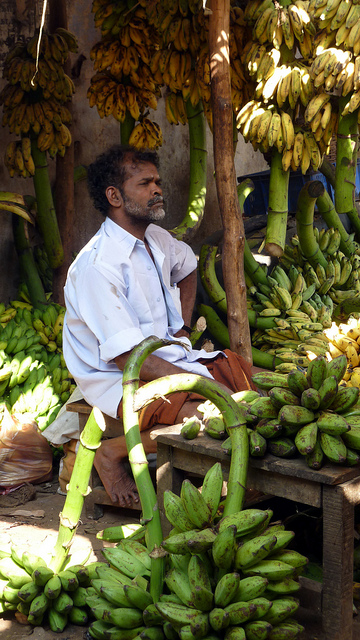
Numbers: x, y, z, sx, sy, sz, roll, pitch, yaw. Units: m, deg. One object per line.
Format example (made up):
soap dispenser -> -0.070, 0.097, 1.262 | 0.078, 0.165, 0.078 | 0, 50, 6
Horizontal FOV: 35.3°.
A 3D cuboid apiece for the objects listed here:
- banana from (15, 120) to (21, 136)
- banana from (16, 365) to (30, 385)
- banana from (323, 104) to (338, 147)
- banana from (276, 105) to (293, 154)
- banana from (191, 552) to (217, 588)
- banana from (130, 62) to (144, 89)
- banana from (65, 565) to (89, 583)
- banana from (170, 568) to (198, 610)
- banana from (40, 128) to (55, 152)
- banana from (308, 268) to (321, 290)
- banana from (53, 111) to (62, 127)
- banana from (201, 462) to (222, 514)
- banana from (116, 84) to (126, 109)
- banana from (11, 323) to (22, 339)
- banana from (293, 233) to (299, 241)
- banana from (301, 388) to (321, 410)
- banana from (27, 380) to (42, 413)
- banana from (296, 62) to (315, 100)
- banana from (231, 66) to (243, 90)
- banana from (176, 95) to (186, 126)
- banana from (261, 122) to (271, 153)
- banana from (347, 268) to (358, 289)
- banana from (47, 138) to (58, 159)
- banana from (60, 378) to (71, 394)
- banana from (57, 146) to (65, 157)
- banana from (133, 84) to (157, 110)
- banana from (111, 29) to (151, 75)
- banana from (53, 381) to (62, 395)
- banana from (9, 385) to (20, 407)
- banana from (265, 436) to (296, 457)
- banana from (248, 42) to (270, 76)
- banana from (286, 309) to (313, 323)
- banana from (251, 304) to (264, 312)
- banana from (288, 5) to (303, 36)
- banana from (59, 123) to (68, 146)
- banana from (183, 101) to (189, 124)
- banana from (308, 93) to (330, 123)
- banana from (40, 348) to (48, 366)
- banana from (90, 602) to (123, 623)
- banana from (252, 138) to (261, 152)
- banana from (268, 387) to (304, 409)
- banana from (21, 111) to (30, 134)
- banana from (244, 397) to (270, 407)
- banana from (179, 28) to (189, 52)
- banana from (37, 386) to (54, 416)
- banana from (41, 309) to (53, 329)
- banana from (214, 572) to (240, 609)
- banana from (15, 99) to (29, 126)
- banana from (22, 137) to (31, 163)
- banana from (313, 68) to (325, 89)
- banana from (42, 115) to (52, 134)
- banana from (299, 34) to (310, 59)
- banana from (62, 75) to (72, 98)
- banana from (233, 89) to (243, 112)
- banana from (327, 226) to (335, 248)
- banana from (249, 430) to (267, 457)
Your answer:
banana -> -1.061, -1.246, 3.678 | 0.031, 0.124, 0.039 | 21, 26, 21
banana -> -0.925, 0.329, 3.374 | 0.054, 0.102, 0.034 | 32, -15, 22
banana -> 0.782, -1.004, 2.954 | 0.042, 0.223, 0.075 | 12, -13, -11
banana -> 0.540, -1.036, 2.914 | 0.079, 0.347, 0.117 | 3, -15, -1
banana -> 0.057, 0.559, 1.301 | 0.026, 0.115, 0.037 | -15, -6, -46
banana -> -0.266, -1.505, 3.549 | 0.060, 0.185, 0.051 | -16, -7, 33
banana -> -0.301, 0.736, 1.651 | 0.040, 0.027, 0.077 | 4, -11, 10
banana -> 0.007, 0.611, 1.283 | 0.029, 0.030, 0.088 | 4, 29, -31
banana -> -0.851, -1.151, 3.706 | 0.050, 0.197, 0.067 | 24, -8, -15
banana -> 0.923, -0.287, 3.932 | 0.057, 0.183, 0.052 | -4, -21, -36
banana -> -0.800, -1.294, 3.673 | 0.022, 0.092, 0.050 | -23, -14, 41
banana -> 0.078, 0.400, 1.353 | 0.037, 0.123, 0.036 | -17, -43, 34
banana -> -0.379, -1.421, 3.603 | 0.044, 0.160, 0.042 | 1, -10, -39
banana -> -1.027, 0.071, 3.573 | 0.028, 0.042, 0.105 | 23, 28, 0
banana -> 0.920, -0.661, 4.495 | 0.024, 0.044, 0.140 | 21, -5, 18
banana -> 0.310, 0.193, 1.356 | 0.035, 0.053, 0.032 | 41, -18, 1
banana -> -0.873, 0.462, 3.389 | 0.040, 0.174, 0.055 | 10, -11, -11
banana -> 0.637, -1.184, 2.836 | 0.050, 0.206, 0.069 | -17, 16, -4
banana -> 0.335, -1.394, 3.326 | 0.038, 0.154, 0.053 | -18, 30, 4
banana -> 0.014, -1.376, 3.747 | 0.053, 0.164, 0.033 | 6, 30, 38
banana -> 0.428, -0.916, 2.826 | 0.028, 0.116, 0.038 | -4, 8, -26
banana -> 1.223, -0.286, 4.012 | 0.039, 0.145, 0.040 | 12, -4, -1
banana -> -0.836, -1.116, 3.721 | 0.037, 0.146, 0.044 | 6, -5, -39
banana -> -0.722, 0.419, 3.580 | 0.067, 0.051, 0.036 | 51, -8, -29
banana -> -0.789, -1.110, 3.731 | 0.034, 0.056, 0.013 | -2, 36, -11
banana -> -0.231, -1.427, 3.616 | 0.080, 0.220, 0.045 | -44, 4, 16
banana -> -0.328, -1.627, 3.522 | 0.147, 0.307, 0.079 | -33, 22, -11
banana -> -0.763, 0.426, 3.528 | 0.042, 0.060, 0.034 | 16, -5, -28
banana -> -0.987, 0.449, 3.385 | 0.040, 0.132, 0.040 | 19, -10, -23
banana -> 0.250, 0.313, 1.402 | 0.034, 0.033, 0.058 | 9, 0, -31
banana -> 0.397, -1.339, 2.952 | 0.053, 0.215, 0.073 | 15, -11, 35
banana -> 0.753, -0.039, 3.653 | 0.203, 0.067, 0.058 | 13, 30, 38
banana -> 0.533, -0.077, 3.875 | 0.039, 0.077, 0.112 | 5, 2, -16
banana -> 0.561, -1.458, 2.745 | 0.045, 0.176, 0.051 | -13, -24, -8
banana -> -0.762, -1.209, 3.708 | 0.033, 0.134, 0.044 | 3, 16, 41
banana -> 0.034, -1.396, 3.747 | 0.017, 0.091, 0.010 | -11, 13, -6
banana -> 0.697, -1.068, 2.877 | 0.053, 0.070, 0.205 | -2, 42, 53
banana -> -0.862, 0.236, 3.584 | 0.031, 0.127, 0.043 | -5, 7, -14
banana -> -0.195, 0.738, 1.451 | 0.048, 0.040, 0.137 | 15, -24, -28
banana -> 0.390, -0.903, 2.941 | 0.021, 0.079, 0.028 | 20, 52, 25
banana -> 0.256, 0.192, 1.390 | 0.069, 0.046, 0.028 | 18, -34, 16
banana -> -0.994, -1.263, 3.643 | 0.031, 0.131, 0.041 | -1, -6, 4
banana -> 0.207, 0.224, 1.560 | 0.041, 0.013, 0.033 | -31, -11, 8
banana -> 0.020, -1.619, 3.288 | 0.036, 0.125, 0.031 | -14, 7, -10
banana -> -0.814, 0.486, 3.437 | 0.048, 0.189, 0.065 | 24, -26, -20
banana -> -0.868, -0.004, 3.657 | 0.036, 0.148, 0.050 | -9, 15, 12
banana -> 0.100, 0.568, 1.181 | 0.044, 0.096, 0.034 | 18, 26, -9
banana -> -1.029, -1.332, 3.645 | 0.043, 0.174, 0.055 | 3, -25, 27
banana -> -1.005, -1.104, 3.690 | 0.045, 0.161, 0.041 | -2, -9, 6
banana -> 0.667, -1.157, 2.727 | 0.025, 0.097, 0.031 | 28, -12, 5
banana -> -0.853, -1.244, 3.633 | 0.032, 0.132, 0.043 | -5, 2, 27
banana -> 0.642, -1.391, 2.907 | 0.032, 0.129, 0.040 | -4, 14, 40
banana -> -0.749, -1.531, 3.726 | 0.044, 0.100, 0.093 | -5, 4, 14
banana -> 0.351, -1.302, 3.390 | 0.035, 0.158, 0.058 | 16, -18, -10
banana -> 1.103, -0.603, 4.135 | 0.039, 0.163, 0.051 | 6, -13, 25
banana -> 0.189, 0.303, 1.386 | 0.029, 0.026, 0.063 | -8, 19, -2
